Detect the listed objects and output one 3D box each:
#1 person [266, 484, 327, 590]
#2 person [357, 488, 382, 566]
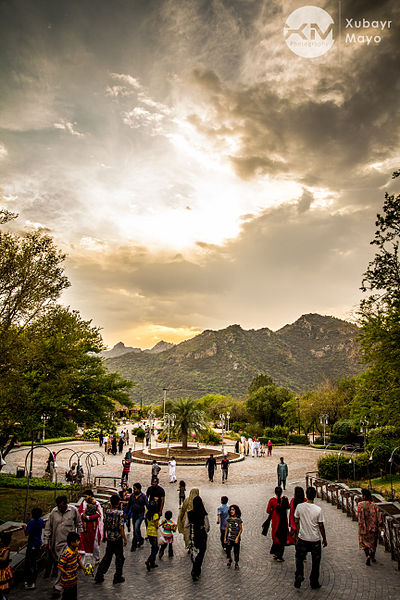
[{"bbox_3d":[2.095,4.438,8.561,0.581,1.780,1.543,-1,-13,14],"label":"person"},{"bbox_3d":[3.538,4.741,9.364,0.422,1.542,0.746,-2,-13,19],"label":"person"}]
